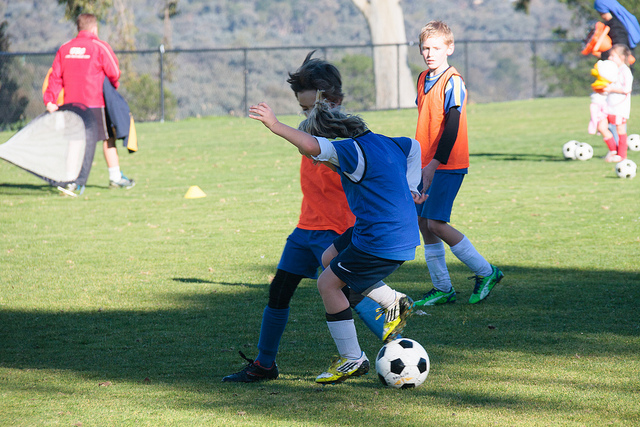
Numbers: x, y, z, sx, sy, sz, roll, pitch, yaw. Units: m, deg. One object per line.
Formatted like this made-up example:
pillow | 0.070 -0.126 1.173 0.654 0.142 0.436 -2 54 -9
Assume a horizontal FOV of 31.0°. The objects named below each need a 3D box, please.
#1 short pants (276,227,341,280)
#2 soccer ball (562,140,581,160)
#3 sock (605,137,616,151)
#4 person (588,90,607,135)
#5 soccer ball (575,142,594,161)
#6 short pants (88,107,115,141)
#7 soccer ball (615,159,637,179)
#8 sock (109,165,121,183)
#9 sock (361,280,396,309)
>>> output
short pants | -0.192 0.475 15.993 0.943 0.670 0.381 7 0 -30
soccer ball | 5.104 -1.359 23.602 0.297 0.379 0.318 6 -22 2
sock | 5.594 -1.368 22.468 0.101 0.272 0.294 9 14 40
person | 5.222 -1.944 21.886 0.309 0.859 0.545 2 11 13
soccer ball | 5.290 -1.269 23.371 0.352 0.343 0.346 -4 -37 -3
short pants | -4.017 -1.689 21.348 0.145 0.613 0.458 10 15 43
soccer ball | 5.734 -0.886 21.835 0.345 0.331 0.338 -1 -17 0
sock | -3.902 -0.775 22.004 0.209 0.340 0.176 -3 11 -11
sock | 0.825 1.093 15.870 0.332 0.375 0.431 -53 6 -25
